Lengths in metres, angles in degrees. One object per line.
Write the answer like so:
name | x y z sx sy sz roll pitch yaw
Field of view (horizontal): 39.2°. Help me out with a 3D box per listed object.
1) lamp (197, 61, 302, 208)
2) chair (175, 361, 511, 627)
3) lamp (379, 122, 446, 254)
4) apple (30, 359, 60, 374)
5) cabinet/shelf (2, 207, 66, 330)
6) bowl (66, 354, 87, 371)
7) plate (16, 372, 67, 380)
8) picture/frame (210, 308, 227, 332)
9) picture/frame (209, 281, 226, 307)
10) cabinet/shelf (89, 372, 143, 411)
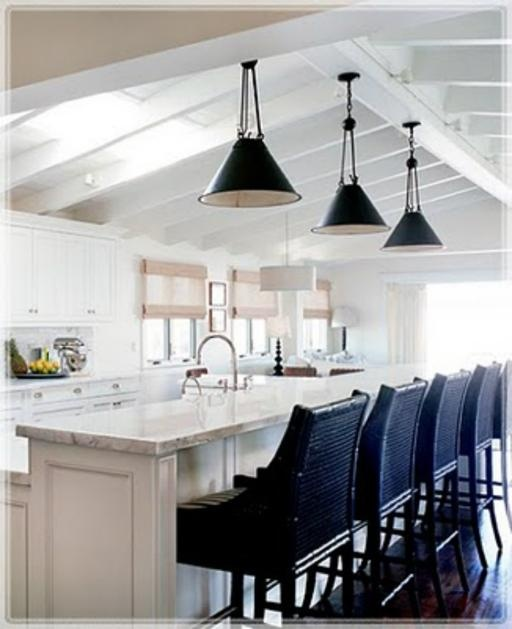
lamp | -0.020 -0.526 2.031 0.232 0.360 0.227 -2 3 -36
chair | 0.153 0.544 2.044 0.489 0.686 0.792 -5 -6 34
lamp | 0.626 -0.511 2.893 0.257 0.479 0.254 1 6 30
apple | -1.318 0.330 4.526 0.117 0.065 0.099 1 1 1
cabinet/shelf | -1.449 -0.288 4.725 0.209 0.725 0.677 -3 -5 18
bowl | -1.084 0.283 4.357 0.119 0.136 0.128 -1 -7 0
plate | -1.300 0.386 4.510 0.154 0.042 0.397 -4 -6 24
picture/frame | -0.378 0.052 7.035 0.023 0.191 0.222 -2 -4 26
picture/frame | -0.382 -0.199 7.013 0.032 0.185 0.252 -2 -3 21
cabinet/shelf | -1.019 0.569 5.360 0.181 0.237 0.965 -2 -5 2
